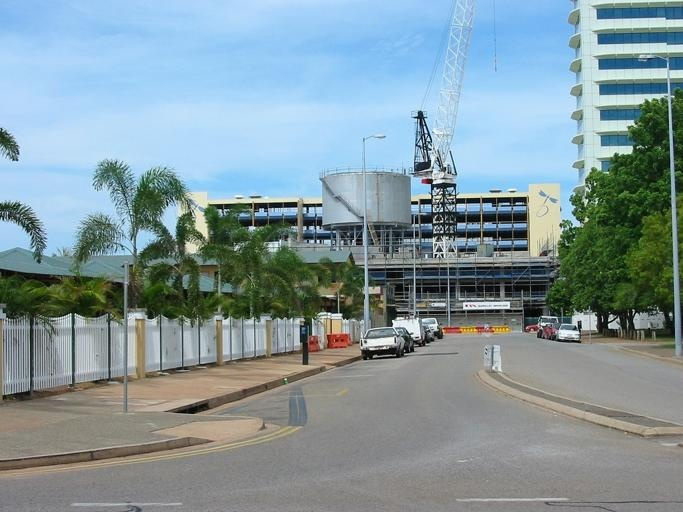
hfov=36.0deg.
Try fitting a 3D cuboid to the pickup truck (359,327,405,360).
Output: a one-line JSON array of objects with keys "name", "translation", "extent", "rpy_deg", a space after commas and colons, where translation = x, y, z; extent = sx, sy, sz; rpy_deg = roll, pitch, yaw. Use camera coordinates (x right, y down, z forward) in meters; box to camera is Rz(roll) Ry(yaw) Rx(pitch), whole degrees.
[{"name": "pickup truck", "translation": [2.093, 4.395, 54.080], "extent": [1.991, 1.576, 2.286], "rpy_deg": [-5, -4, 6]}]

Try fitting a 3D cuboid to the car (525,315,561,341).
[{"name": "car", "translation": [17.803, 6.261, 92.804], "extent": [2.237, 2.082, 3.751], "rpy_deg": [1, -7, 0]}]
